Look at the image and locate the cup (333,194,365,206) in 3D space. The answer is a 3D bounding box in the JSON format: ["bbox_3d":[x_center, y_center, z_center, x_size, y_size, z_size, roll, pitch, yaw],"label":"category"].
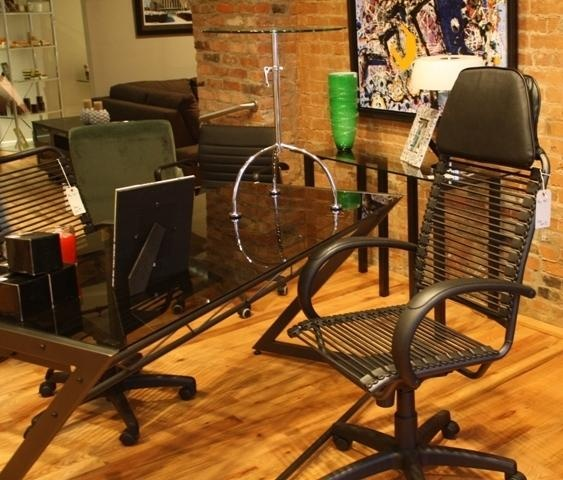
[{"bbox_3d":[0.306,-0.181,2.217,0.089,0.044,0.080,-9,19,-25],"label":"cup"}]
